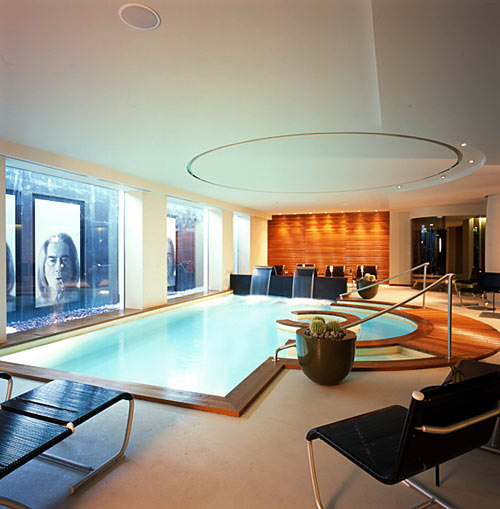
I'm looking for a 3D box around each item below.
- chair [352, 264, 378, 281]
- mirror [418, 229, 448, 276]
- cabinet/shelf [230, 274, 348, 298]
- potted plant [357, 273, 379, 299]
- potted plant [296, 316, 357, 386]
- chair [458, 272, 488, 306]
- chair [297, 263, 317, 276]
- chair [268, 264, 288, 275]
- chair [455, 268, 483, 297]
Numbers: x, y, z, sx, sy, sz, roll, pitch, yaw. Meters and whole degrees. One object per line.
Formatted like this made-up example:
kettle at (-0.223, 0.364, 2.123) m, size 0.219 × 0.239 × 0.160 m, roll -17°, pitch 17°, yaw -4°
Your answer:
chair at (4.283, 0.624, 13.681) m, size 0.883 × 0.591 × 0.923 m, roll 1°, pitch 0°, yaw 16°
mirror at (6.278, -0.144, 12.857) m, size 0.323 × 1.162 × 0.932 m, roll 0°, pitch -1°, yaw -23°
cabinet/shelf at (1.167, 1.034, 11.891) m, size 3.875 × 0.730 × 0.399 m, roll -2°, pitch -1°, yaw 30°
potted plant at (3.308, 0.932, 10.473) m, size 0.640 × 0.810 × 0.656 m, roll 0°, pitch -2°, yaw -39°
potted plant at (0.820, 0.917, 3.714) m, size 0.592 × 0.700 × 0.580 m, roll 2°, pitch -3°, yaw -43°
chair at (5.840, 0.962, 9.757) m, size 0.768 × 1.029 × 0.761 m, roll 2°, pitch -4°, yaw -23°
chair at (1.808, 0.528, 11.756) m, size 0.480 × 0.512 × 0.402 m, roll 2°, pitch -1°, yaw 27°
chair at (1.138, 0.661, 14.713) m, size 0.539 × 0.260 × 0.557 m, roll 0°, pitch 3°, yaw -3°
chair at (6.129, 0.804, 10.424) m, size 0.800 × 1.130 × 0.795 m, roll -1°, pitch -3°, yaw 28°
